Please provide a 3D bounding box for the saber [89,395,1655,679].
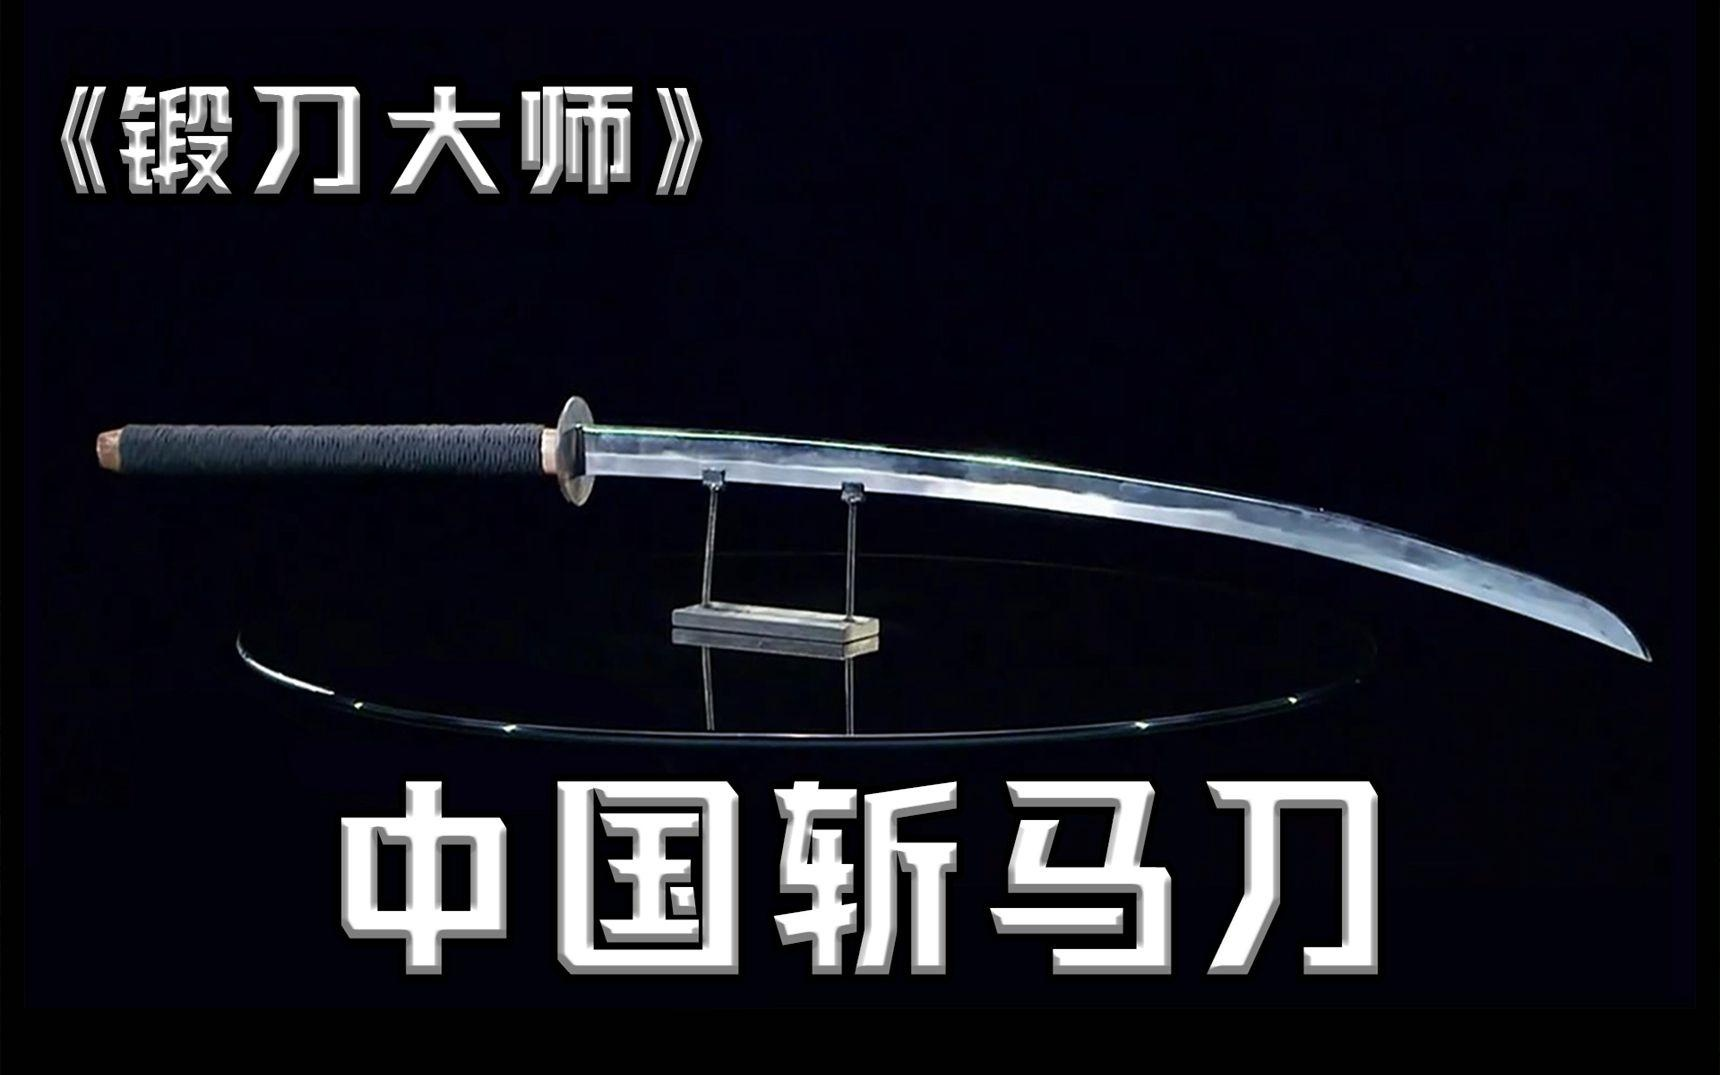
[{"bbox_3d":[-0.124,-0.003,7.054,3.316,0.394,0.247,5,-3,26],"label":"saber"}]
